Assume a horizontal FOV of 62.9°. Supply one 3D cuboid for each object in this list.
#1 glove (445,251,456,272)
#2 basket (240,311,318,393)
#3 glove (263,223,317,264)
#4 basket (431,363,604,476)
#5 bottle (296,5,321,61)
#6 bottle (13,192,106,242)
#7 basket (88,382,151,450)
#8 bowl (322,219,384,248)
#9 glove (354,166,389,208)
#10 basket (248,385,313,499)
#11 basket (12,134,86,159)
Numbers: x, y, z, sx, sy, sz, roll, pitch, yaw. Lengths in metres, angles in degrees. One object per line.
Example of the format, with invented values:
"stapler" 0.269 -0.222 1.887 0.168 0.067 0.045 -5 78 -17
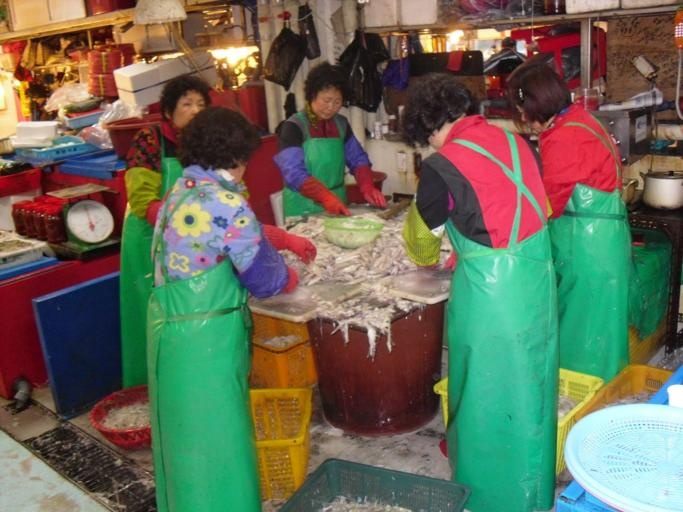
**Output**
"glove" 0.622 0.020 3.155 0.023 0.087 0.087 12 20 -5
"basket" -0.344 0.709 3.860 0.424 0.467 0.411 -2 6 -28
"glove" -0.290 -0.115 3.246 0.201 0.133 0.395 10 12 -30
"basket" 1.100 0.734 3.022 0.596 0.337 0.798 6 14 43
"bottle" -0.324 -2.266 5.606 0.192 0.543 0.236 -7 12 0
"bottle" -2.166 -0.242 4.343 0.721 0.259 0.419 12 20 23
"basket" -1.328 1.066 3.649 0.530 0.201 0.519 -4 18 -15
"bowl" 0.078 -0.157 3.523 0.358 0.169 0.315 -7 12 -2
"glove" 0.212 -0.526 4.232 0.344 0.240 0.337 -6 35 -3
"basket" -0.307 1.038 3.231 0.435 0.355 0.561 -2 8 1
"basket" -2.777 -1.059 5.466 0.738 0.224 0.424 6 17 45
